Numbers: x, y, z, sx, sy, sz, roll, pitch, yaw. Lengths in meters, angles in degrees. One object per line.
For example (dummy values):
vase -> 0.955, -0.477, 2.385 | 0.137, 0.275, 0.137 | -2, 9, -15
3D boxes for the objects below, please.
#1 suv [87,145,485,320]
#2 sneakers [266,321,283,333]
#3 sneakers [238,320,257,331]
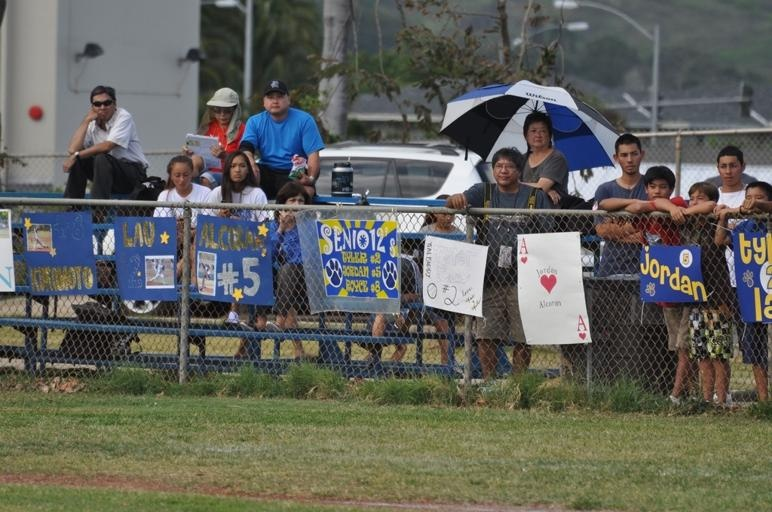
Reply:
suv -> -1.617, -0.274, 27.533 | 4.420, 2.243, 2.524 | 1, -1, 5
sneakers -> -1.647, 1.019, 27.373 | 0.201, 0.133, 0.099 | 36, -20, 4
sneakers -> -2.042, 1.009, 27.438 | 0.183, 0.074, 0.134 | 14, -6, 21
